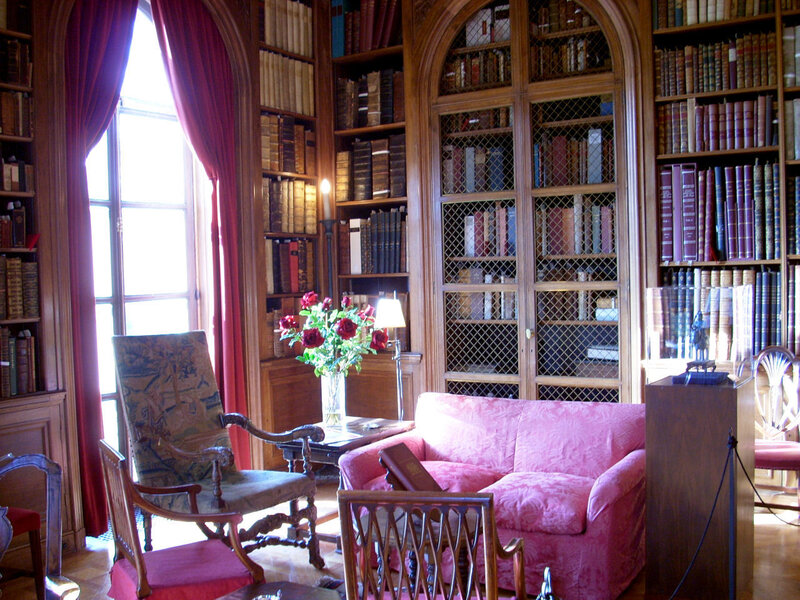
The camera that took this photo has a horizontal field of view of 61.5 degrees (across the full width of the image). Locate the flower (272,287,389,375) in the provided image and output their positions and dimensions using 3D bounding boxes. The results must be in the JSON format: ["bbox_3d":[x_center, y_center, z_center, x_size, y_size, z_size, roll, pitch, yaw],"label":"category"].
[{"bbox_3d":[-0.437,0.241,4.553,0.710,0.777,0.728,-4,-5,43],"label":"flower"}]
